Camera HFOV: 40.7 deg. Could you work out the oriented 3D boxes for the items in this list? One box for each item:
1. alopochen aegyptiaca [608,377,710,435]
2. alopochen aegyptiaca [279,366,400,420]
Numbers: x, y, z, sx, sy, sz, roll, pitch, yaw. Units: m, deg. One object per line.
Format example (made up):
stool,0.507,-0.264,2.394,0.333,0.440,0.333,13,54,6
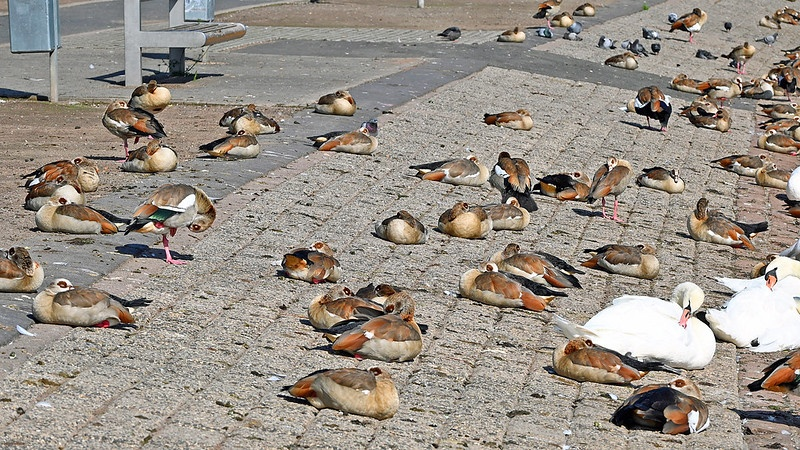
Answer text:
alopochen aegyptiaca,4.016,2.847,16.458,1.462,0.567,0.498,6,31,5
alopochen aegyptiaca,-0.900,2.548,16.403,1.709,0.492,0.744,7,-3,-2
